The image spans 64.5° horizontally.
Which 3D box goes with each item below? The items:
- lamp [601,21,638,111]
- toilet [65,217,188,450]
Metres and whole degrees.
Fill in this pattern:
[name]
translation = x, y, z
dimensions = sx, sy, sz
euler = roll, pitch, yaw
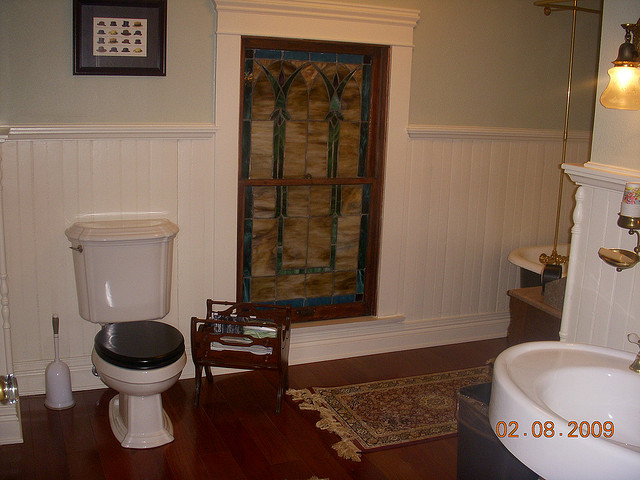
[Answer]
[lamp]
translation = 1.150, -0.658, 1.945
dimensions = 0.119, 0.312, 0.157
euler = 2, 14, 18
[toilet]
translation = -1.021, 0.492, 2.854
dimensions = 0.644, 1.077, 0.902
euler = -4, 14, -34
